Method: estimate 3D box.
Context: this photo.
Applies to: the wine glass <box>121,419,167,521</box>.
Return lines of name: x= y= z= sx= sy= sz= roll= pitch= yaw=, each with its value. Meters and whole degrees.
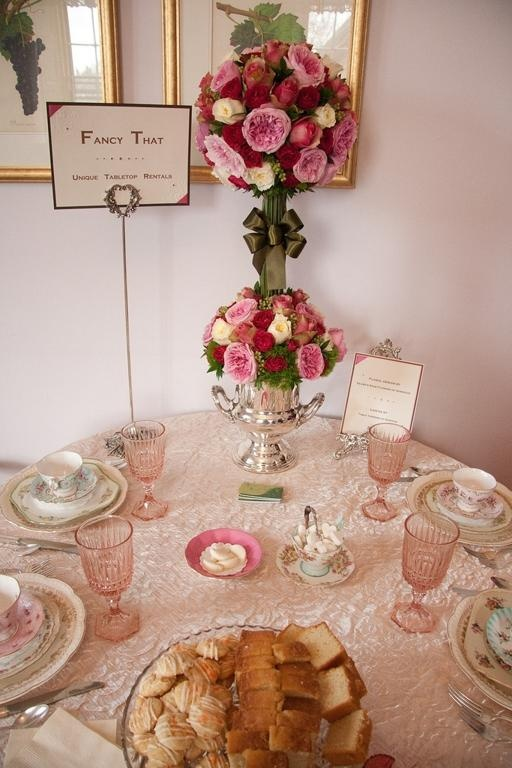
wine glass: x=-0.253 y=0.209 z=1.352 sx=0.098 sy=0.188 sz=0.093 roll=-8 pitch=14 yaw=-33

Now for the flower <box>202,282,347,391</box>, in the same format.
flower: x=0.051 y=-0.120 z=1.488 sx=0.312 sy=0.209 sz=0.263 roll=-17 pitch=31 yaw=-34

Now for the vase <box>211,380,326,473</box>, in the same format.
vase: x=0.031 y=0.099 z=1.627 sx=0.307 sy=0.248 sz=0.208 roll=2 pitch=13 yaw=-2

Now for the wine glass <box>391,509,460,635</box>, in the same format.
wine glass: x=0.301 y=0.322 z=1.039 sx=0.086 sy=0.219 sz=0.147 roll=9 pitch=26 yaw=16

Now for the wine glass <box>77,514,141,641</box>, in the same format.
wine glass: x=-0.249 y=0.337 z=0.997 sx=0.097 sy=0.174 sz=0.087 roll=-8 pitch=16 yaw=-31

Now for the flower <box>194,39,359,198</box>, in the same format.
flower: x=0.044 y=-0.561 z=1.424 sx=0.333 sy=0.340 sz=0.337 roll=-1 pitch=24 yaw=-9
